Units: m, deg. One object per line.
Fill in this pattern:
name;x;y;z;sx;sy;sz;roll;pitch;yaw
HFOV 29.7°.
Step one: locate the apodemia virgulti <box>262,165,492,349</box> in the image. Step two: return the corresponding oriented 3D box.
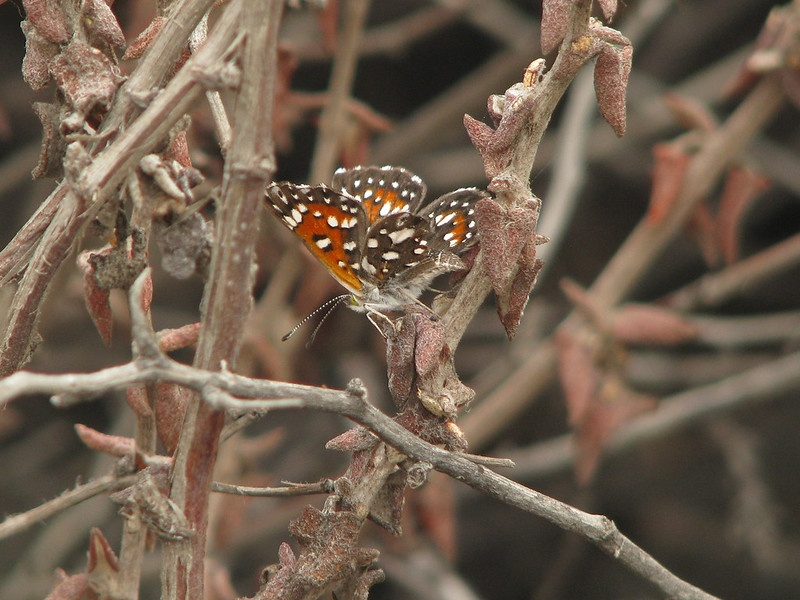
apodemia virgulti;-0.028;-0.053;1.984;0.249;0.219;0.316;-16;-6;10
